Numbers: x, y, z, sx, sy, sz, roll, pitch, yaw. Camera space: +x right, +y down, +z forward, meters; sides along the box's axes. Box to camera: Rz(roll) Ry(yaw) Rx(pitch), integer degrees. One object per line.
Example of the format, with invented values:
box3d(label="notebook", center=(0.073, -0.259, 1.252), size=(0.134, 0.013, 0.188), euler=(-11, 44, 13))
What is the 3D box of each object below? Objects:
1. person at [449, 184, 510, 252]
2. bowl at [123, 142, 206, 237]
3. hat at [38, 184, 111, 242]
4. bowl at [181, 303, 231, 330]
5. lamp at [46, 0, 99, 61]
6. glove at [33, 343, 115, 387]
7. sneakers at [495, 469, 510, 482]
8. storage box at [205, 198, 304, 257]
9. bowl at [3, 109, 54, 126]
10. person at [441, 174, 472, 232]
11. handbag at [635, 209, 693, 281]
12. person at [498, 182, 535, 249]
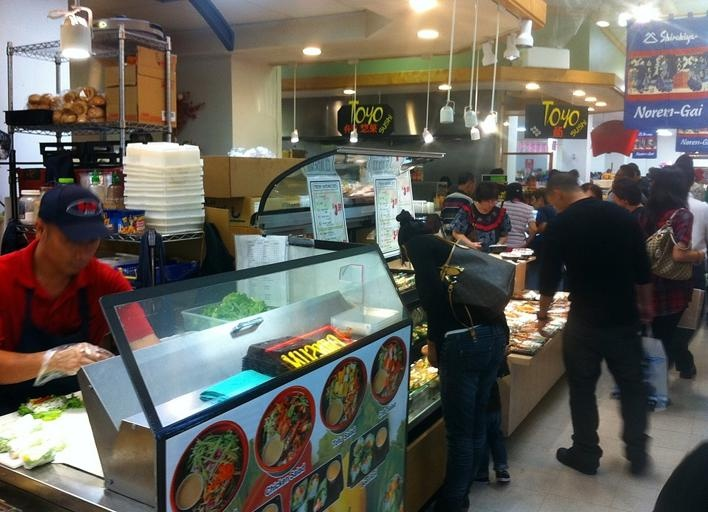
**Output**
box3d(label="person", center=(1.483, -0.313, 6.207), size=(0.692, 1.037, 0.535), euler=(0, 7, -12))
box3d(label="bowl", center=(-1.414, -0.522, 4.070), size=(0.629, 0.851, 0.626), euler=(1, 8, 0))
box3d(label="hat", center=(-1.256, -0.222, 2.475), size=(0.374, 0.200, 0.262), euler=(23, 17, 31))
box3d(label="bowl", center=(-0.578, 0.223, 2.050), size=(0.096, 0.058, 0.097), euler=(-1, 1, 0))
box3d(label="lamp", center=(-2.083, -1.702, 4.030), size=(0.273, 0.401, 0.402), euler=(-7, 14, -27))
box3d(label="glove", center=(-1.183, 0.478, 2.304), size=(0.281, 0.175, 0.188), euler=(5, 14, 19))
box3d(label="sneakers", center=(1.026, 1.537, 3.783), size=(0.138, 0.096, 0.050), euler=(-1, 7, 7))
box3d(label="storage box", center=(-0.711, -0.204, 3.961), size=(0.343, 0.468, 0.482), euler=(2, 10, 10))
box3d(label="bowl", center=(-2.873, -1.241, 4.823), size=(0.221, 0.075, 0.230), euler=(-1, 5, 0))
box3d(label="person", center=(1.448, -0.676, 7.175), size=(0.469, 0.405, 1.373), euler=(8, -21, 15))
box3d(label="handbag", center=(2.843, -0.128, 4.919), size=(0.342, 0.632, 0.488), euler=(-3, 10, 19))
box3d(label="person", center=(2.145, -0.566, 7.266), size=(0.548, 0.892, 0.512), euler=(2, 17, 24))
